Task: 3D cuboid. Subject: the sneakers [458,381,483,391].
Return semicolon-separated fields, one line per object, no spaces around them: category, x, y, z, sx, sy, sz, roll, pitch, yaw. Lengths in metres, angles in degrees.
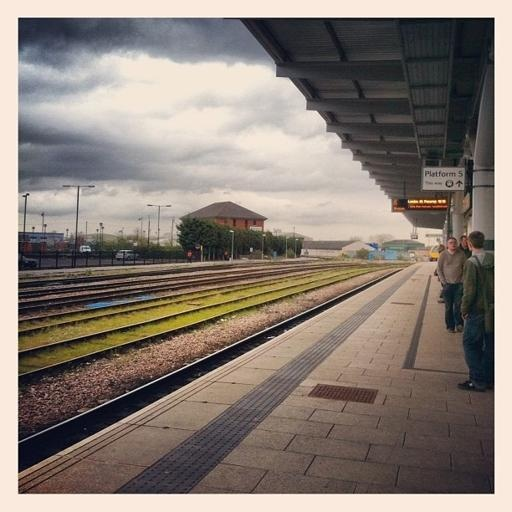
sneakers;3.020;1.800;5.831;0.267;0.122;0.106;4;2;31

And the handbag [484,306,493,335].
handbag;3.151;0.842;5.649;0.096;0.286;0.200;-2;-3;21

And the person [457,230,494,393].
person;3.094;0.746;5.865;0.464;2.037;0.540;-1;0;30
